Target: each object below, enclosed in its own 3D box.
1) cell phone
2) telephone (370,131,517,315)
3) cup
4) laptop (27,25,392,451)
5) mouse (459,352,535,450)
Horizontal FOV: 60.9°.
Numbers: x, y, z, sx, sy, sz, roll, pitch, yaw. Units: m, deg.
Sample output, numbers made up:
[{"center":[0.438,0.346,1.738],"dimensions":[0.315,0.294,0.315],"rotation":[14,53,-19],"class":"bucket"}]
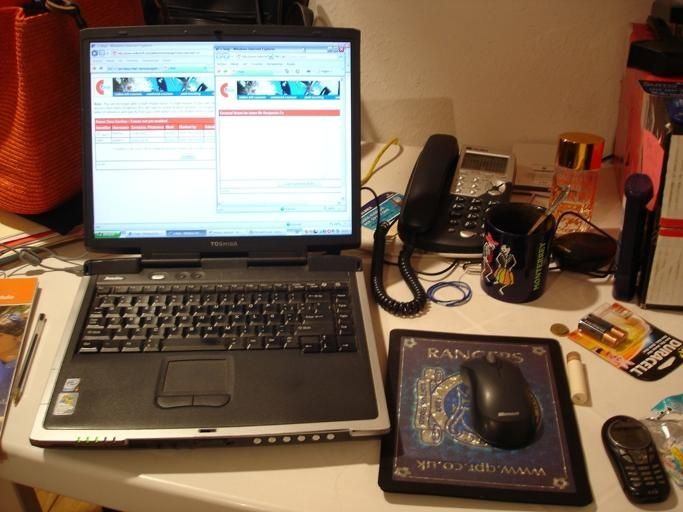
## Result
[{"center":[0.355,0.244,0.690],"dimensions":[0.050,0.020,0.085],"rotation":[-8,52,2],"class":"cell phone"},{"center":[0.172,-0.061,1.007],"dimensions":[0.210,0.085,0.359],"rotation":[6,46,18],"class":"telephone"},{"center":[0.270,-0.003,0.886],"dimensions":[0.087,0.103,0.118],"rotation":[29,52,29],"class":"cup"},{"center":[-0.165,0.011,0.919],"dimensions":[0.552,0.409,0.557],"rotation":[0,49,-3],"class":"laptop"},{"center":[0.194,0.181,0.722],"dimensions":[0.069,0.039,0.119],"rotation":[1,41,-5],"class":"mouse"}]
